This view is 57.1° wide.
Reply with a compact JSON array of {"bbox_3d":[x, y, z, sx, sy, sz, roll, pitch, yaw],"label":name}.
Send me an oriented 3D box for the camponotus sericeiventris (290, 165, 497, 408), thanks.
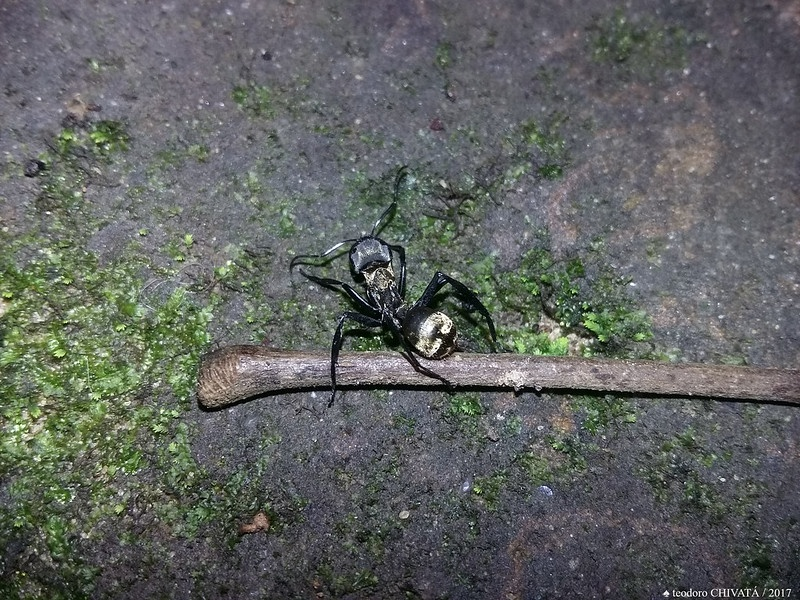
[{"bbox_3d":[-0.111,0.003,8.421,1.675,0.872,2.130,-36,84,-3],"label":"camponotus sericeiventris"}]
